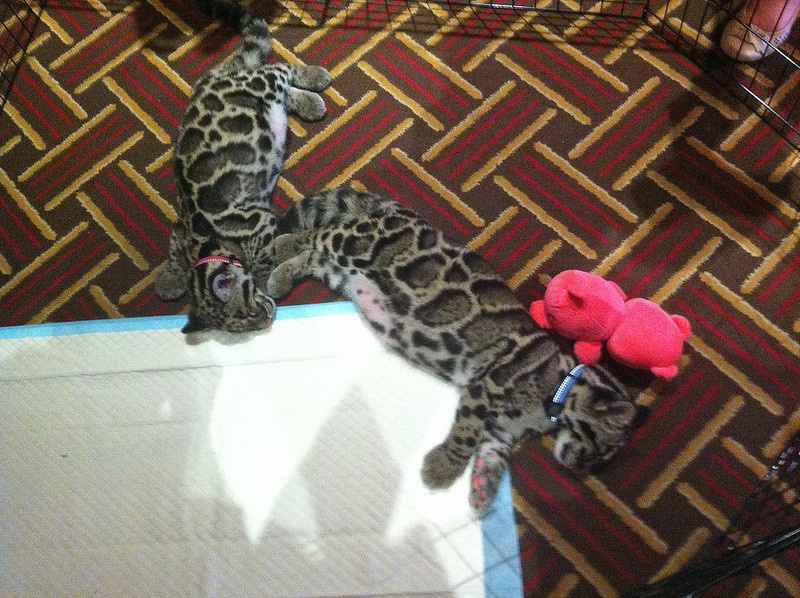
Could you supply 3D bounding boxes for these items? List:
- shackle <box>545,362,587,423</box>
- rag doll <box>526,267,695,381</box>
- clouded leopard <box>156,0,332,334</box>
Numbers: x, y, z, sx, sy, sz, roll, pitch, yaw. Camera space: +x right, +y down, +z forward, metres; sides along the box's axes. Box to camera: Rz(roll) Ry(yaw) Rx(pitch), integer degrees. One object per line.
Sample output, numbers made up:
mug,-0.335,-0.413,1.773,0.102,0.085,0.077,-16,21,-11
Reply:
shackle,0.722,0.412,5.452,0.179,0.234,0.056,25,0,-7
rag doll,0.965,0.099,5.553,0.692,0.488,0.288,28,-35,6
clouded leopard,-0.701,-0.574,5.714,0.668,1.435,0.529,2,1,-3
